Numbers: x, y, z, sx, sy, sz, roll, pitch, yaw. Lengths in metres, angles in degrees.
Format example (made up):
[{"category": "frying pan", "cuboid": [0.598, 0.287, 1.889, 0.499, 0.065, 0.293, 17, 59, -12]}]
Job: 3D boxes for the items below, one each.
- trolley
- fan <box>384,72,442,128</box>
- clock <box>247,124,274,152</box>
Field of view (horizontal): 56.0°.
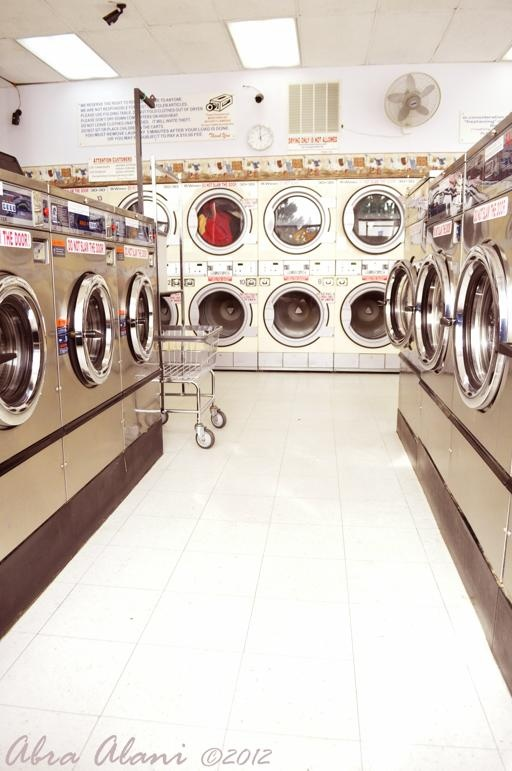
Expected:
[{"category": "trolley", "cuboid": [-0.490, -0.032, 3.291, 0.458, 0.699, 0.738, 3, -78, 4]}, {"category": "fan", "cuboid": [1.548, -2.852, 4.792, 0.518, 0.169, 0.445, -7, -72, 8]}, {"category": "clock", "cuboid": [0.039, -2.667, 5.203, 0.270, 0.069, 0.271, 1, -71, 5]}]
